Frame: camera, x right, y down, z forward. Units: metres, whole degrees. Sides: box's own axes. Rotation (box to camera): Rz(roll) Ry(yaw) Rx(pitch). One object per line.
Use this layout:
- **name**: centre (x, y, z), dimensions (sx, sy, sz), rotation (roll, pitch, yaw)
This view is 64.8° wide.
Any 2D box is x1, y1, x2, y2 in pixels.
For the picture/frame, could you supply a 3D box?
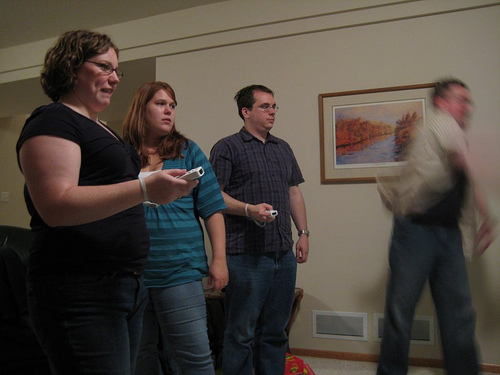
- **picture/frame**: centre (0.844, -0.352, 2.593), dimensions (0.713, 0.575, 0.028), rotation (-3, -9, 24)

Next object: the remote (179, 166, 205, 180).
- **remote**: centre (-0.176, -0.040, 1.255), dimensions (0.050, 0.013, 0.050), rotation (-22, -2, -40)

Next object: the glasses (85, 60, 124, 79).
- **glasses**: centre (-0.525, -0.425, 1.400), dimensions (0.064, 0.020, 0.064), rotation (22, -3, 21)
